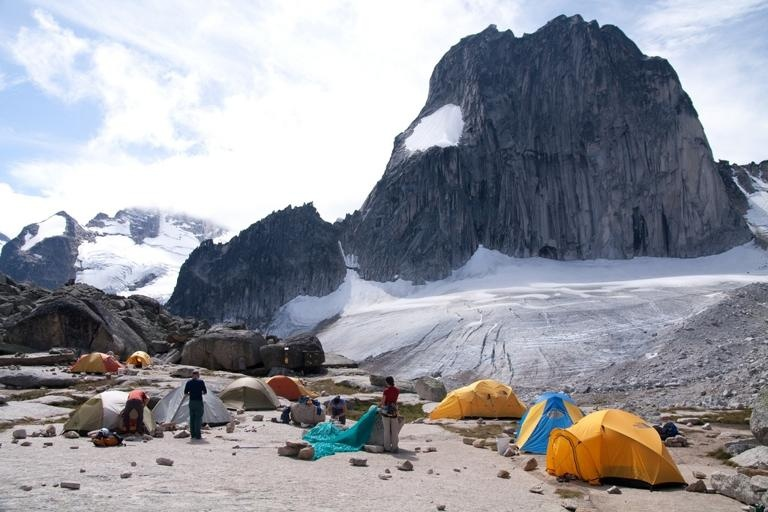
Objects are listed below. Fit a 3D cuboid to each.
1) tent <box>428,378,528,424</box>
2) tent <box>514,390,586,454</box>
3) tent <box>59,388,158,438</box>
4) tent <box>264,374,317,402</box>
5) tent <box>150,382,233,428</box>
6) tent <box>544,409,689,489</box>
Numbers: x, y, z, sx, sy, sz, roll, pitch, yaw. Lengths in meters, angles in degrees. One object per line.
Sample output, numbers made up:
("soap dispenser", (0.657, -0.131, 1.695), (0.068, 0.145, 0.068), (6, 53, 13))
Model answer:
("tent", (7.058, 10.859, 46.509), (6.282, 2.547, 1.746), (-5, 7, 4))
("tent", (10.198, 10.486, 39.398), (3.055, 1.565, 3.932), (-6, 16, 19))
("tent", (-16.381, 9.337, 37.881), (2.737, 2.243, 5.570), (-1, -4, -5))
("tent", (-7.320, 10.731, 50.004), (3.249, 1.063, 2.322), (2, -6, 28))
("tent", (-12.646, 10.033, 40.896), (5.009, 2.385, 2.369), (0, 2, 2))
("tent", (12.958, 11.188, 35.935), (5.792, 2.869, 4.132), (0, -5, 14))
